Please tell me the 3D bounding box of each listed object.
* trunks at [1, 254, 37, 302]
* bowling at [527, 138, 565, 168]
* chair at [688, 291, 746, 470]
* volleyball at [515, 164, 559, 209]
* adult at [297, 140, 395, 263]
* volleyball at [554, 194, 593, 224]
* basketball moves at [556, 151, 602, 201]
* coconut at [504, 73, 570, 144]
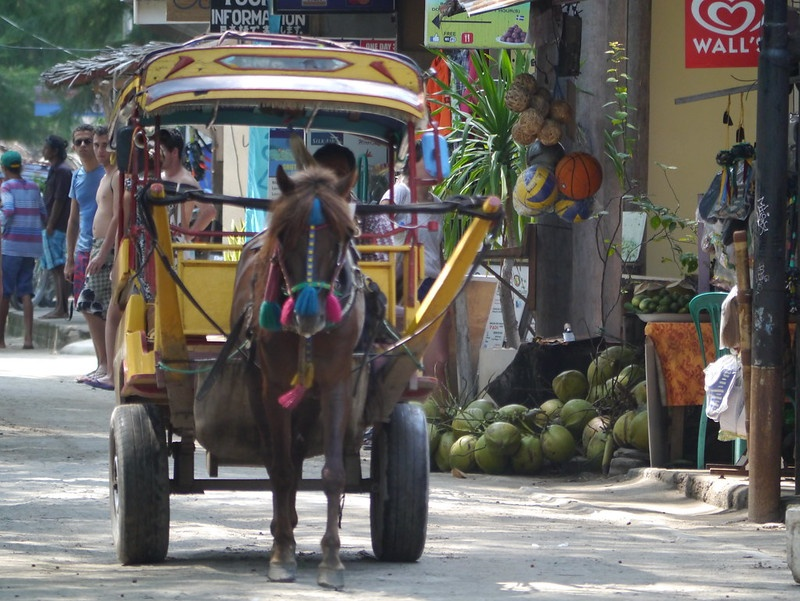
[{"bbox_3d":[-4.692,-0.262,25.561,0.376,0.547,1.550,3,-3,-10],"label":"trunks"},{"bbox_3d":[1.349,-1.324,19.070,0.283,0.242,0.256,-30,-8,42],"label":"bowling"},{"bbox_3d":[2.676,0.697,17.590,0.505,1.505,1.069,2,-3,8],"label":"chair"},{"bbox_3d":[1.259,-1.008,18.934,0.343,0.485,0.372,-1,-4,1],"label":"volleyball"},{"bbox_3d":[-0.357,-0.816,16.073,0.342,1.399,0.706,1,8,18],"label":"adult"},{"bbox_3d":[1.581,-0.822,19.064,0.237,0.152,0.250,-6,-11,32],"label":"volleyball"},{"bbox_3d":[1.612,-1.121,18.800,0.369,0.437,0.400,4,0,7],"label":"basketball moves"},{"bbox_3d":[1.254,-1.709,18.974,0.580,0.660,0.243,-3,0,-40],"label":"coconut"}]
